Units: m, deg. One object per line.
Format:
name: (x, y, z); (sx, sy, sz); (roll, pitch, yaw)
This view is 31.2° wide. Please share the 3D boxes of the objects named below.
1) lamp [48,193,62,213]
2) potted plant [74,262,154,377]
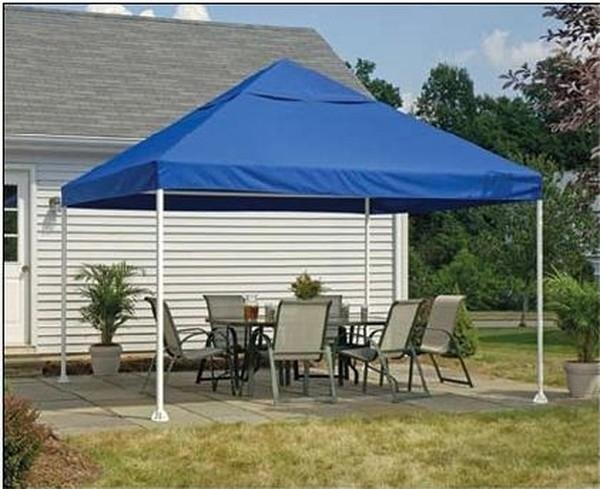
lamp: (-4.116, -0.681, 18.200); (0.237, 0.307, 0.105); (-1, -3, 22)
potted plant: (-3.107, 1.159, 17.587); (1.635, 2.291, 1.575); (0, 0, -12)
